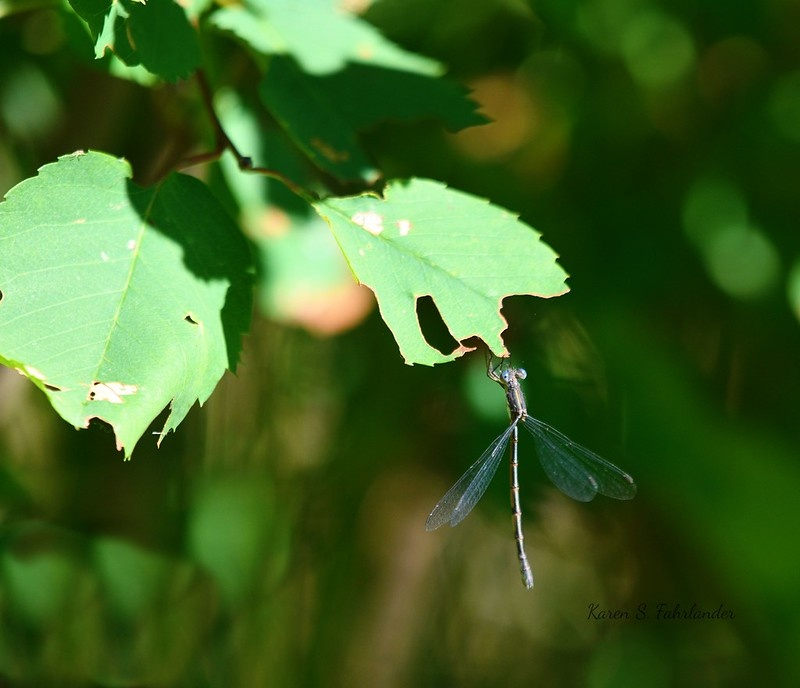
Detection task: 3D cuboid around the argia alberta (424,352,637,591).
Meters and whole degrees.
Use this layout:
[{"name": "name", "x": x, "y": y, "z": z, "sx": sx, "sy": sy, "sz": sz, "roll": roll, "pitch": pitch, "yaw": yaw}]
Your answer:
[{"name": "argia alberta", "x": 0.165, "y": 0.170, "z": 1.060, "sx": 0.223, "sy": 0.182, "sz": 0.181, "roll": 26, "pitch": 58, "yaw": 11}]
